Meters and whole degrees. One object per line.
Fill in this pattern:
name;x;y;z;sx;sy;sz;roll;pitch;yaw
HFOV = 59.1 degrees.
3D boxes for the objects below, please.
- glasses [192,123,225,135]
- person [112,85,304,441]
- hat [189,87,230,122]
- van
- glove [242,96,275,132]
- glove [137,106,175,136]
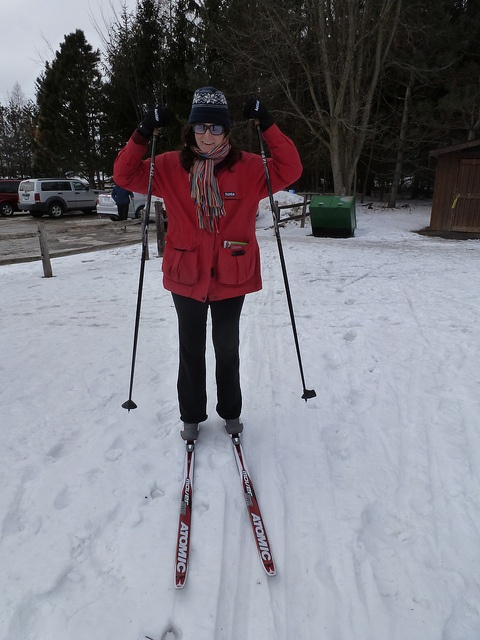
glasses;-0.135;-0.837;1.864;0.133;0.047;0.053;-2;16;-5
person;-0.156;-0.207;2.173;0.881;1.792;0.436;2;14;7
hat;-0.131;-0.954;1.902;0.149;0.184;0.190;3;23;-6
van;-7.344;-4.970;17.622;1.622;1.434;3.042;18;30;35
glove;0.089;-1.024;2.151;0.132;0.176;0.067;-43;15;-7
glove;-0.426;-0.984;2.084;0.061;0.122;0.195;29;71;40
